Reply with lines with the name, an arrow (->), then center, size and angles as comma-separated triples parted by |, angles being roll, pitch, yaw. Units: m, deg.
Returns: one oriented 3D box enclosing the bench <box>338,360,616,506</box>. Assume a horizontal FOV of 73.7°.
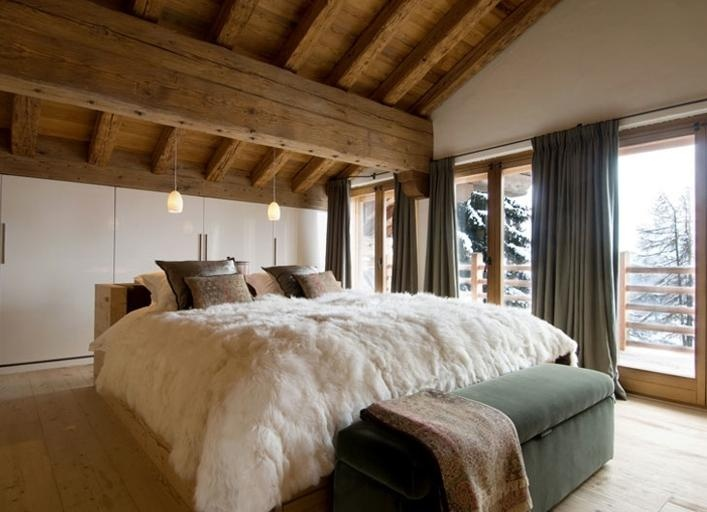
bench -> 0.858, 1.177, 2.842 | 1.989, 0.676, 0.536 | -5, 13, -26
